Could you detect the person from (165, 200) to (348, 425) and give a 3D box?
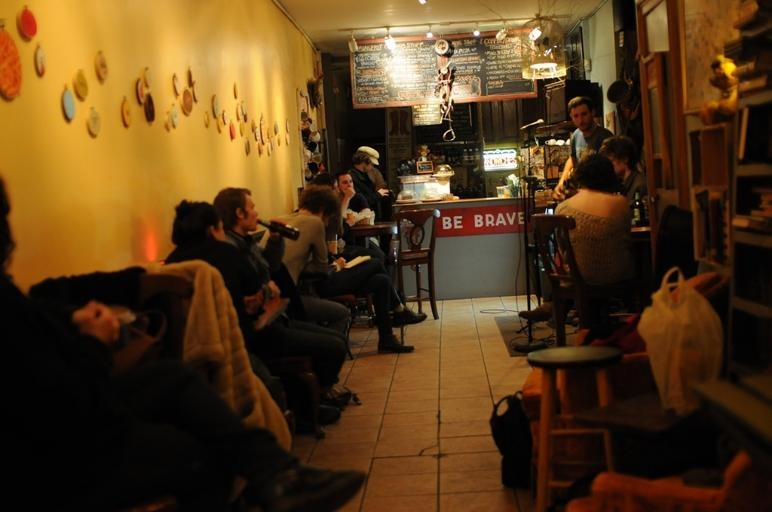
[{"bbox_3d":[-0.643,0.295,3.748,1.030,1.489,0.572,-3,26,-26],"label":"person"}]

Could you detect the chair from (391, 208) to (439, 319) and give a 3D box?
[{"bbox_3d":[0.338,0.107,6.913,0.591,1.256,0.597,-3,3,-11],"label":"chair"}]

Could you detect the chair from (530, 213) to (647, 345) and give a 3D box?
[{"bbox_3d":[1.479,0.197,4.369,0.642,1.045,0.665,-9,2,-6],"label":"chair"}]

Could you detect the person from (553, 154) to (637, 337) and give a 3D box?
[{"bbox_3d":[1.474,-0.117,4.243,0.512,1.182,0.427,-3,7,7],"label":"person"}]

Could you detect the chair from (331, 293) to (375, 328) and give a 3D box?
[{"bbox_3d":[-0.294,0.608,6.783,0.400,0.507,0.360,-1,-2,0],"label":"chair"}]

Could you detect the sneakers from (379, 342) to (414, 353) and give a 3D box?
[{"bbox_3d":[0.118,0.853,5.587,0.333,0.141,0.115,-4,-5,3],"label":"sneakers"}]

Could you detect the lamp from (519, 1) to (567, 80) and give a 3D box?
[{"bbox_3d":[1.848,-2.462,7.042,0.455,0.707,0.692,-4,7,-2],"label":"lamp"}]

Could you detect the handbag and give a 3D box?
[{"bbox_3d":[0.655,0.950,3.075,0.219,0.488,0.184,0,8,27],"label":"handbag"}]

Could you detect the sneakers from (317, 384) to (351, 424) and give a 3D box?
[{"bbox_3d":[-0.344,1.015,4.137,0.136,0.237,0.076,7,-12,24],"label":"sneakers"}]

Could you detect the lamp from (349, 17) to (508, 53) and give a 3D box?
[{"bbox_3d":[0.697,-3.149,8.649,2.432,0.302,0.626,-4,8,2],"label":"lamp"}]

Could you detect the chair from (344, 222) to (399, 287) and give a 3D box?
[{"bbox_3d":[-0.126,-0.076,6.665,0.517,0.536,0.527,-2,-1,-8],"label":"chair"}]
